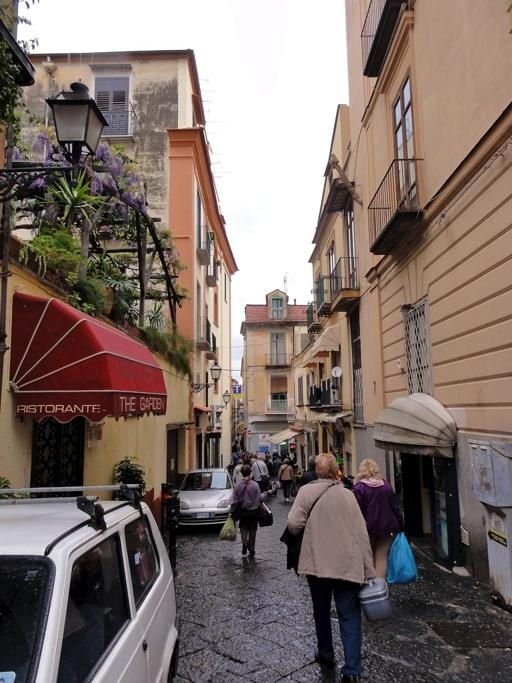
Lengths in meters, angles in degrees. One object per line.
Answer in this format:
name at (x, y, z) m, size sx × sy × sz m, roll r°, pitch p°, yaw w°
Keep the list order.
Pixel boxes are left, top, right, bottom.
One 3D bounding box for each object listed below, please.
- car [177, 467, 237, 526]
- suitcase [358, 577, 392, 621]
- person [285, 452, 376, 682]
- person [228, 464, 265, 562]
car at (-1.119, 3.488, 11.754) m, size 0.840 × 1.143 × 2.185 m, roll -1°, pitch -16°, yaw -1°
suitcase at (0.852, 1.853, 3.817) m, size 0.172 × 0.305 × 0.270 m, roll -8°, pitch -3°, yaw 4°
person at (0.556, 1.651, 3.919) m, size 0.627 × 1.572 × 0.419 m, roll -6°, pitch -9°, yaw 29°
person at (-0.143, 2.719, 8.400) m, size 0.498 × 1.405 × 0.565 m, roll -2°, pitch -8°, yaw 2°
